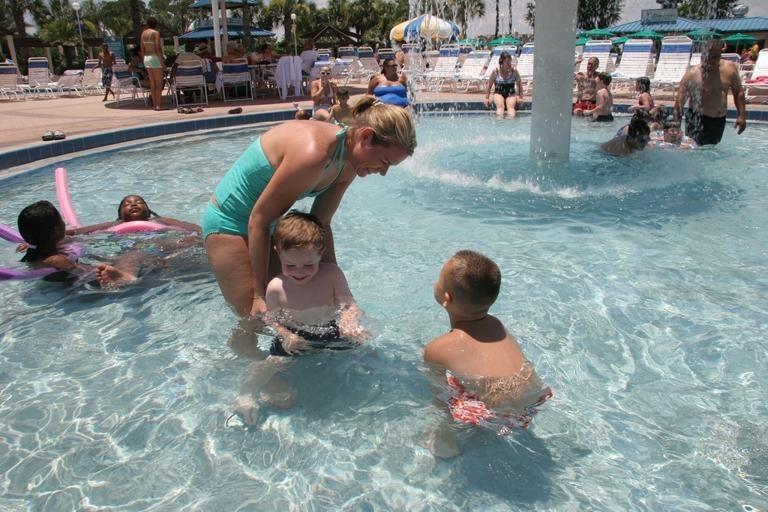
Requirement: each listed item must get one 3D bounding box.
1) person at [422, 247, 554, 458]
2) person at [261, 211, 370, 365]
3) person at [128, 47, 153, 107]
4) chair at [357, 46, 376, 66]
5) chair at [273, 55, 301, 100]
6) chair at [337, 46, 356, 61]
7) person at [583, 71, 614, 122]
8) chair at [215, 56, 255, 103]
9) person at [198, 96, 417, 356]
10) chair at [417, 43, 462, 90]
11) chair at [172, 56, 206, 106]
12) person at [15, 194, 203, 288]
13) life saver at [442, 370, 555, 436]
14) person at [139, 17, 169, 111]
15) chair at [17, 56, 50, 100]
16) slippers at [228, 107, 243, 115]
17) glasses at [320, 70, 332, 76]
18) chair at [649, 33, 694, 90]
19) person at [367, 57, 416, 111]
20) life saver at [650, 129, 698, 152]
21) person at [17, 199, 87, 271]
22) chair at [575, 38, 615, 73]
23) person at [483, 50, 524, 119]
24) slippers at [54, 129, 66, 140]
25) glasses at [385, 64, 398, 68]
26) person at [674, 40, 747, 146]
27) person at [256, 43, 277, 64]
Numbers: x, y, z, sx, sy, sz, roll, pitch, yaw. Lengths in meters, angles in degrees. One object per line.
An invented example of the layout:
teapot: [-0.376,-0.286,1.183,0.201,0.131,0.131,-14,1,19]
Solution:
person: [0.668,0.663,3.524,0.863,1.252,0.820,10,24,26]
person: [-0.529,0.277,3.556,0.925,0.979,0.658,-9,22,-21]
person: [-6.966,-5.284,15.592,0.898,1.585,0.701,13,17,3]
chair: [-0.719,-8.757,23.127,0.747,0.498,1.249,-1,28,-2]
chair: [-2.942,-5.438,16.026,0.700,1.204,1.156,7,21,19]
chair: [-1.767,-9.766,25.426,0.792,0.595,2.388,-2,19,-6]
person: [4.839,-3.537,11.749,0.541,1.004,0.757,4,21,10]
chair: [-4.141,-4.966,14.712,0.765,1.156,0.918,-8,24,-19]
person: [-0.572,-0.201,3.655,1.325,1.747,0.691,-5,21,-13]
chair: [2.056,-6.461,18.215,0.823,0.805,1.391,9,-26,-8]
chair: [-5.180,-4.746,14.122,0.829,1.319,1.576,-7,21,-17]
person: [-2.838,-0.357,5.355,1.204,0.467,1.440,23,28,24]
life saver: [0.715,0.935,3.348,0.518,0.217,0.389,11,-17,40]
person: [-5.730,-4.897,13.485,0.709,2.175,0.740,17,22,37]
chair: [-12.565,-6.493,18.948,0.858,1.293,0.844,17,25,10]
slippers: [-3.397,-3.334,12.118,0.264,0.160,0.425,-17,24,-18]
glasses: [-1.354,-4.285,12.387,0.219,0.101,0.441,-3,19,-9]
chair: [8.074,-5.386,14.830,1.359,0.743,0.375,-24,18,-13]
person: [0.128,-3.628,11.327,0.926,1.087,0.660,-4,16,-5]
life saver: [4.748,-1.896,8.697,0.539,0.190,0.676,3,15,14]
person: [-3.167,-0.221,5.052,0.784,0.575,0.498,12,15,32]
chair: [6.826,-6.504,16.779,0.798,0.596,1.499,12,17,28]
person: [3.065,-4.413,13.486,0.903,1.511,1.277,4,21,10]
slippers: [-5.477,-2.065,8.968,0.170,0.140,0.233,1,14,1]
glasses: [0.160,-3.954,10.896,0.198,0.086,0.127,-9,21,-24]
person: [5.314,-2.655,8.559,1.070,1.711,0.886,-17,26,-37]
person: [-4.175,-7.126,18.589,0.515,0.729,2.887,-5,19,-12]
